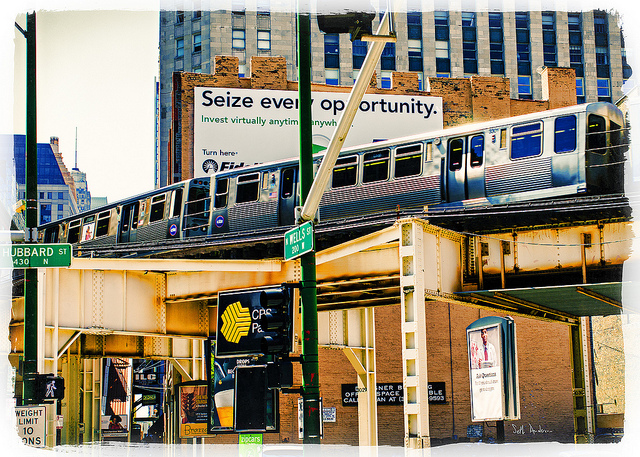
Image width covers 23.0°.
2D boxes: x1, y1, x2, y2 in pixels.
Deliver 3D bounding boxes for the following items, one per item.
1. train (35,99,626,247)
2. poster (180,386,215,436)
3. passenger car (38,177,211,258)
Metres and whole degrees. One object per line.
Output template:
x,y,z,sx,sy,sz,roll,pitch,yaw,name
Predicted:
-0.891,-1.479,90.412,35.000,3.584,3.848,-9,-6,20,train
-7.020,10.204,89.528,2.420,3.101,0.316,-4,-10,22,poster
-12.639,0.471,98.025,3.461,3.945,17.701,7,-12,-40,passenger car
